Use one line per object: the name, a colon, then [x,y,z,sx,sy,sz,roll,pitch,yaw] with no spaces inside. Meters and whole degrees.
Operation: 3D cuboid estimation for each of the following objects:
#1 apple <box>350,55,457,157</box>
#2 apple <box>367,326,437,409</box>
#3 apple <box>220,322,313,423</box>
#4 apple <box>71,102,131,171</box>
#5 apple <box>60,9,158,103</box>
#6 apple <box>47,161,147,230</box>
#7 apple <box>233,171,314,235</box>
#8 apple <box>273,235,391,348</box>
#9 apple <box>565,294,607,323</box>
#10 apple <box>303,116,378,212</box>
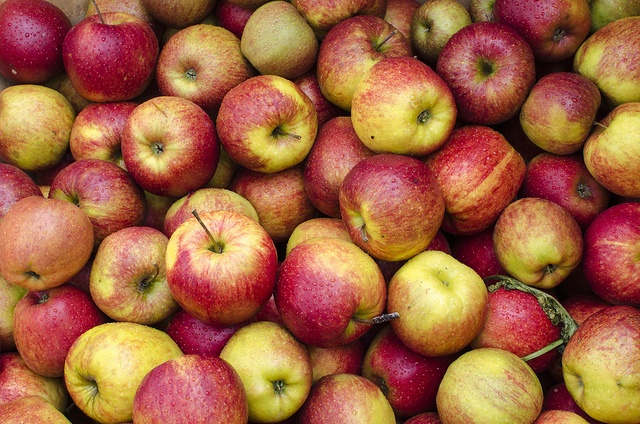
apple: [0.356,-0.405,2.845,0.389,0.421,0.471,-13,88,0]
apple: [0.389,0.674,2.759,0.293,0.315,0.314,1,24,42]
apple: [-0.217,0.700,2.655,0.338,0.383,0.444,8,42,-12]
apple: [-1.054,-0.377,3.060,0.284,0.310,0.328,-9,70,4]
apple: [-1.014,-0.734,3.015,0.366,0.385,0.403,6,21,5]
apple: [-1.029,-0.106,2.898,0.320,0.331,0.355,-21,98,-6]
apple: [-0.227,-0.057,2.992,0.302,0.306,0.368,-4,62,-29]
apple: [0.040,0.441,2.685,0.420,0.426,0.466,-11,71,-5]
apple: [1.178,0.426,2.715,0.116,0.123,0.132,-28,43,31]
apple: [0.135,-0.188,2.932,0.332,0.374,0.467,2,70,13]
